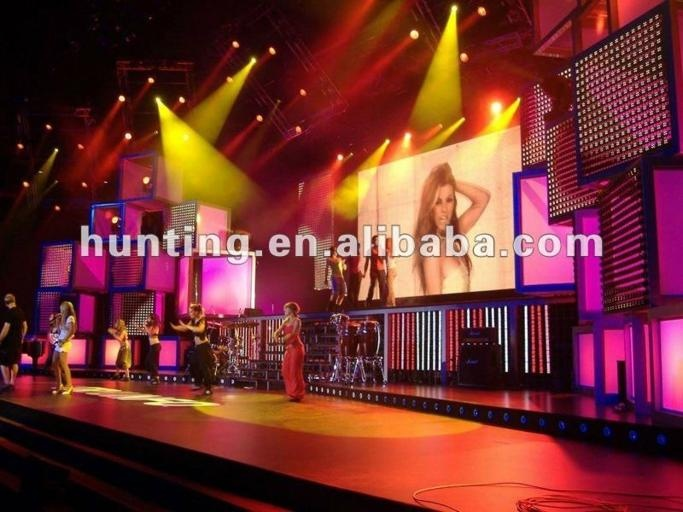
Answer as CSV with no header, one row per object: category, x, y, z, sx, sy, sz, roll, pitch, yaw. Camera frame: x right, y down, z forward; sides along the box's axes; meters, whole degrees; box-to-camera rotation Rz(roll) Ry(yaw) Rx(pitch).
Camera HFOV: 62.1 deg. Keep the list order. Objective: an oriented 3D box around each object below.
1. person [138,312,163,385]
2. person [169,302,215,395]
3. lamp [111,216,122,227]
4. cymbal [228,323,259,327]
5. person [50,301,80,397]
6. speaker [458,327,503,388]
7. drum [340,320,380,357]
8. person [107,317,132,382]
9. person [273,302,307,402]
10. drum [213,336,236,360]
person,-4.538,2.182,13.644,0.370,1.730,1.385,4,-13,-17
person,-2.730,1.776,10.821,0.632,1.710,1.381,3,-13,-13
lamp,-7.017,-1.103,17.698,0.288,0.330,0.168,9,2,7
cymbal,-2.650,1.856,15.333,0.406,0.094,0.408,3,-6,-42
person,-5.060,1.637,10.348,0.411,1.688,0.846,6,-13,-26
speaker,2.432,1.798,10.220,0.696,1.105,0.350,-1,10,24
drum,0.365,1.679,11.079,0.839,0.801,0.597,-15,-30,32
person,-5.581,2.360,14.374,0.525,1.499,1.649,4,-13,-19
person,-0.914,1.697,10.090,0.493,1.713,0.867,1,-12,-6
drum,-2.912,2.237,14.160,0.518,0.504,0.424,4,-10,-6
